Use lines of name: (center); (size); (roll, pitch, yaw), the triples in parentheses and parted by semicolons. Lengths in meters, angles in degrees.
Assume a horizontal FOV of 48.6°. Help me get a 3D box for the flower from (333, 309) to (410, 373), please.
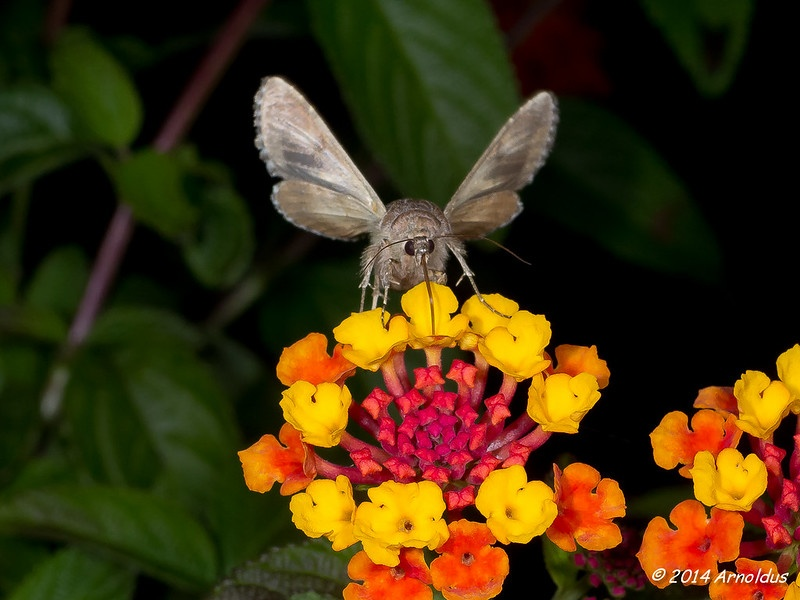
flower: (-0.048, 0.064, 1.519); (0.104, 0.048, 0.114); (23, 58, 22)

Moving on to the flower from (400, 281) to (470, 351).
flower: (0.055, 0.031, 1.539); (0.106, 0.114, 0.060); (-10, -14, 9)

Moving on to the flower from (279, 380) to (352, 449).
flower: (-0.129, 0.201, 1.422); (0.129, 0.053, 0.130); (-18, 38, 19)

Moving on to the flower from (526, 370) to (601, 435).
flower: (0.270, 0.169, 1.448); (0.106, 0.081, 0.112); (-3, 28, 28)

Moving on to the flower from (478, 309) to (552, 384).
flower: (0.203, 0.077, 1.493); (0.104, 0.055, 0.114); (-24, 55, -1)

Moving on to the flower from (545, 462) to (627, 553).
flower: (0.300, 0.343, 1.429); (0.107, 0.102, 0.115); (-2, 28, 29)

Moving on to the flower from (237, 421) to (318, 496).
flower: (-0.204, 0.274, 1.498); (0.118, 0.047, 0.122); (12, 61, 12)

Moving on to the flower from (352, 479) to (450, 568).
flower: (0.003, 0.345, 1.357); (0.132, 0.063, 0.131); (-27, 72, -8)

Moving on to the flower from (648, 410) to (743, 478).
flower: (0.488, 0.237, 1.487); (0.112, 0.055, 0.123); (25, 71, 31)

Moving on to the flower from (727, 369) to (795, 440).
flower: (0.592, 0.190, 1.437); (0.085, 0.120, 0.108); (-6, 26, 22)

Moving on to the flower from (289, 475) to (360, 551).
flower: (-0.118, 0.336, 1.399); (0.110, 0.114, 0.057); (25, 0, 17)

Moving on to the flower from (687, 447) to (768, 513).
flower: (0.516, 0.280, 1.384); (0.095, 0.056, 0.107); (-27, 52, -3)

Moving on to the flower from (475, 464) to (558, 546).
flower: (0.197, 0.322, 1.412); (0.061, 0.146, 0.133); (-16, -4, 5)
